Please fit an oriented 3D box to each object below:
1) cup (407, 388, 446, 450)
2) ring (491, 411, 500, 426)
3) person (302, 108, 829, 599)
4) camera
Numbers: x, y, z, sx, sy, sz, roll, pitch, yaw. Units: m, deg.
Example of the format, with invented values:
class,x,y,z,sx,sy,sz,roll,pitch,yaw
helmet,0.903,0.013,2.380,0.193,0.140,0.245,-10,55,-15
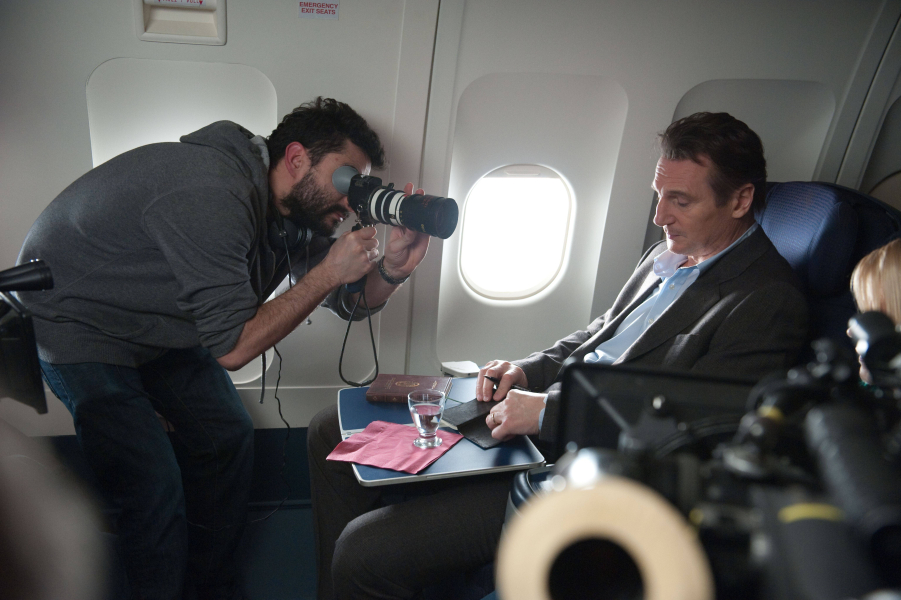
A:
class,x,y,z,sx,sy,sz,roll,pitch,yaw
cup,-0.063,0.313,1.688,0.117,0.168,0.121,0,3,0
ring,0.121,0.321,1.772,0.023,0.030,0.027,-26,54,-27
person,0.309,0.182,1.941,1.339,1.514,0.809,2,15,-11
camera,-0.166,-0.297,2.027,0.358,0.141,0.120,16,5,32
